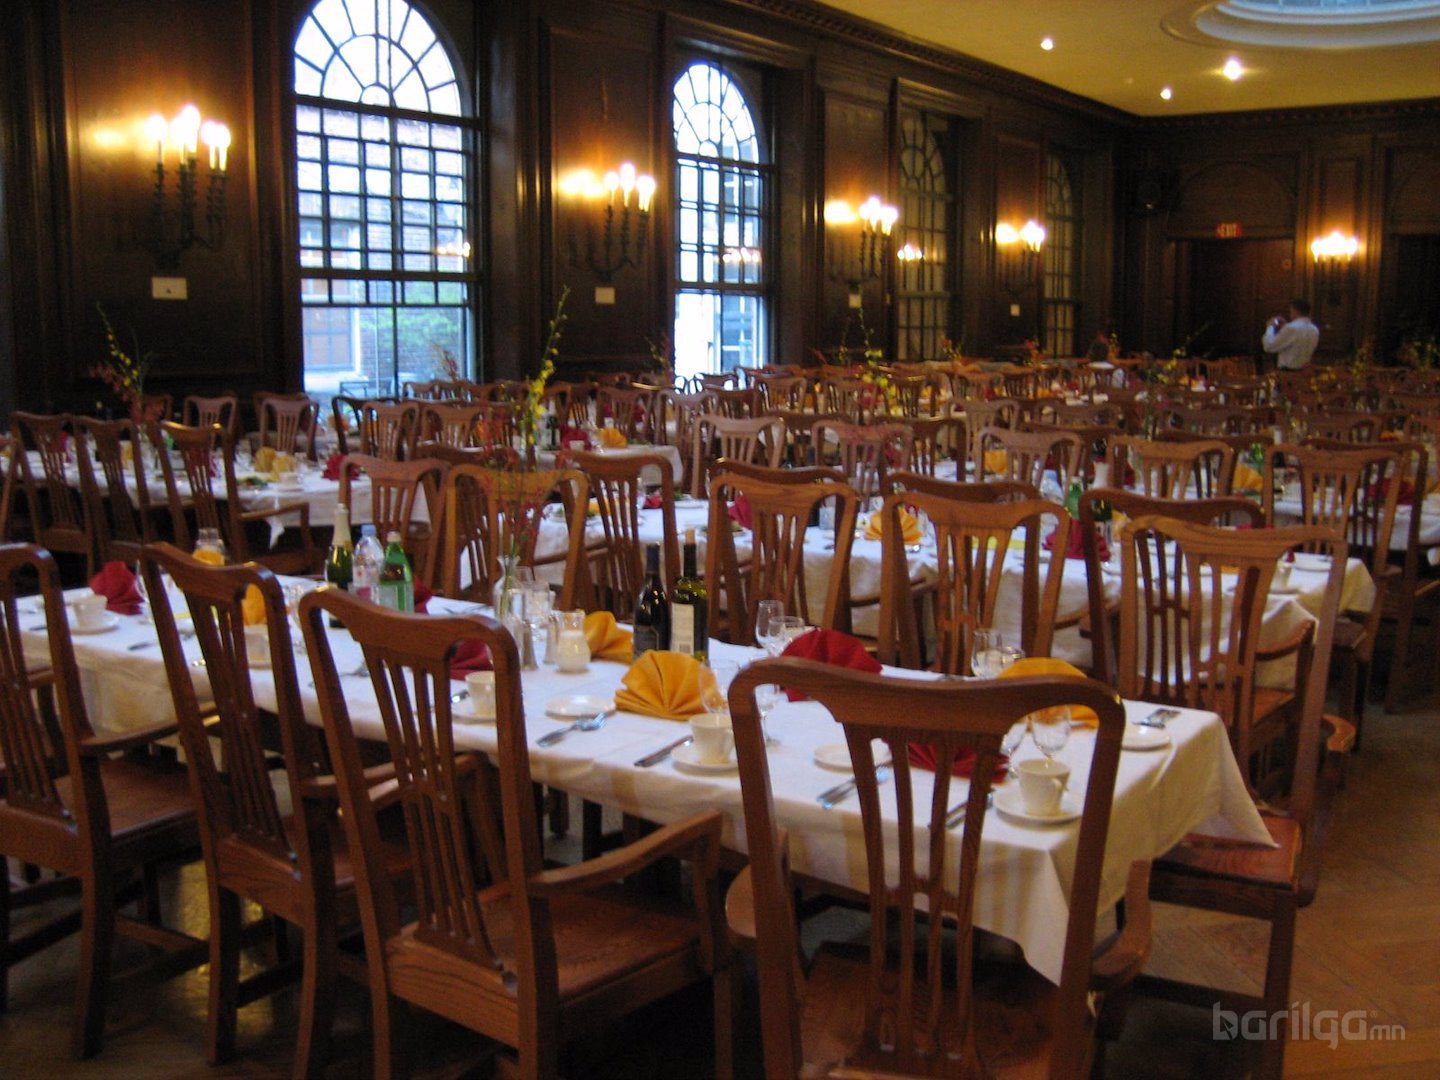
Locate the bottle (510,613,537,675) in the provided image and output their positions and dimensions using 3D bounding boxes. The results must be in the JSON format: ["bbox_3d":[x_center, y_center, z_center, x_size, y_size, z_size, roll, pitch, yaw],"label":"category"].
[{"bbox_3d":[-0.499,0.252,3.124,0.071,0.142,0.139,-4,8,-13],"label":"bottle"}]

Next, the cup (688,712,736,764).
[{"bbox_3d":[-0.010,0.413,2.612,0.085,0.097,0.109,-5,12,-27],"label":"cup"}]

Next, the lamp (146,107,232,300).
[{"bbox_3d":[-3.564,-2.246,8.240,0.564,1.259,0.157,-8,10,-33],"label":"lamp"}]

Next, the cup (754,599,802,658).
[{"bbox_3d":[0.134,0.207,2.880,0.111,0.135,0.111,-3,8,0],"label":"cup"}]

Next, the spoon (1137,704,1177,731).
[{"bbox_3d":[0.990,0.388,2.763,0.040,0.027,0.163,12,8,25],"label":"spoon"}]

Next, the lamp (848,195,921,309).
[{"bbox_3d":[1.749,-3.418,13.829,0.811,0.371,0.973,-4,-21,-5],"label":"lamp"}]

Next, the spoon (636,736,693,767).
[{"bbox_3d":[-0.120,0.439,2.630,0.032,0.016,0.253,17,11,17],"label":"spoon"}]

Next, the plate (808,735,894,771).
[{"bbox_3d":[0.274,0.442,2.558,0.156,0.030,0.179,-3,8,-1],"label":"plate"}]

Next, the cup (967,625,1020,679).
[{"bbox_3d":[0.605,0.240,2.736,0.102,0.139,0.099,-3,4,0],"label":"cup"}]

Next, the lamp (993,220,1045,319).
[{"bbox_3d":[3.865,-3.526,15.848,0.852,1.020,0.311,4,6,17],"label":"lamp"}]

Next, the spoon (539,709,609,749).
[{"bbox_3d":[-0.321,0.401,2.724,0.043,0.035,0.272,7,9,18],"label":"spoon"}]

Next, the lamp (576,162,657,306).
[{"bbox_3d":[-0.952,-2.780,11.045,0.340,1.277,1.188,7,17,3],"label":"lamp"}]

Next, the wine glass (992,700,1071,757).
[{"bbox_3d":[0.651,0.391,2.515,0.126,0.109,0.209,0,9,20],"label":"wine glass"}]

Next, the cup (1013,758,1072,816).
[{"bbox_3d":[0.616,0.462,2.335,0.066,0.075,0.106,1,9,7],"label":"cup"}]

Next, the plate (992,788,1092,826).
[{"bbox_3d":[0.590,0.488,2.246,0.098,0.020,0.105,4,12,18],"label":"plate"}]

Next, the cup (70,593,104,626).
[{"bbox_3d":[-1.815,0.200,3.541,0.077,0.100,0.128,2,-2,18],"label":"cup"}]

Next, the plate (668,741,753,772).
[{"bbox_3d":[-0.015,0.429,2.436,0.106,0.021,0.111,-3,12,-25],"label":"plate"}]

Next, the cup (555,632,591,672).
[{"bbox_3d":[-0.369,0.279,3.121,0.078,0.094,0.087,3,1,10],"label":"cup"}]

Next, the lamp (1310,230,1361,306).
[{"bbox_3d":[8.628,-3.845,17.139,0.741,1.258,0.203,11,21,42],"label":"lamp"}]

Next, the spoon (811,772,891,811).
[{"bbox_3d":[0.275,0.490,2.433,0.054,0.026,0.215,9,15,35],"label":"spoon"}]
